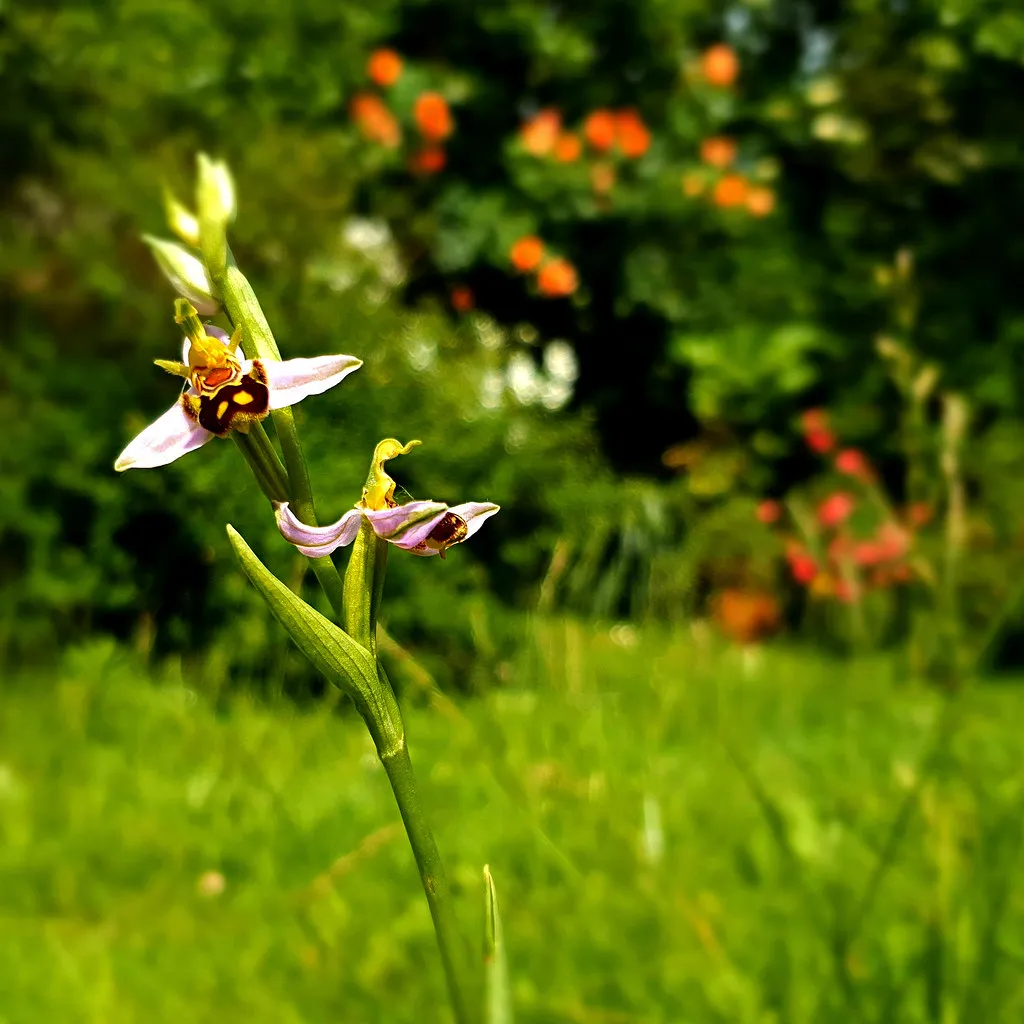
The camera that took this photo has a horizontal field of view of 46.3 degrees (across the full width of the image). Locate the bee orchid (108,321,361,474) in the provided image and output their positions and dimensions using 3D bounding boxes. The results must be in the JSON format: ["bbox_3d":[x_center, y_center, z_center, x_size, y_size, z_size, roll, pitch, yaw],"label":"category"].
[{"bbox_3d":[-0.318,-0.133,1.380,0.258,0.069,0.168,-24,72,13],"label":"bee orchid"}]

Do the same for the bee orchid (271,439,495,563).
[{"bbox_3d":[-0.148,-0.002,1.374,0.179,0.168,0.086,-1,94,15],"label":"bee orchid"}]
